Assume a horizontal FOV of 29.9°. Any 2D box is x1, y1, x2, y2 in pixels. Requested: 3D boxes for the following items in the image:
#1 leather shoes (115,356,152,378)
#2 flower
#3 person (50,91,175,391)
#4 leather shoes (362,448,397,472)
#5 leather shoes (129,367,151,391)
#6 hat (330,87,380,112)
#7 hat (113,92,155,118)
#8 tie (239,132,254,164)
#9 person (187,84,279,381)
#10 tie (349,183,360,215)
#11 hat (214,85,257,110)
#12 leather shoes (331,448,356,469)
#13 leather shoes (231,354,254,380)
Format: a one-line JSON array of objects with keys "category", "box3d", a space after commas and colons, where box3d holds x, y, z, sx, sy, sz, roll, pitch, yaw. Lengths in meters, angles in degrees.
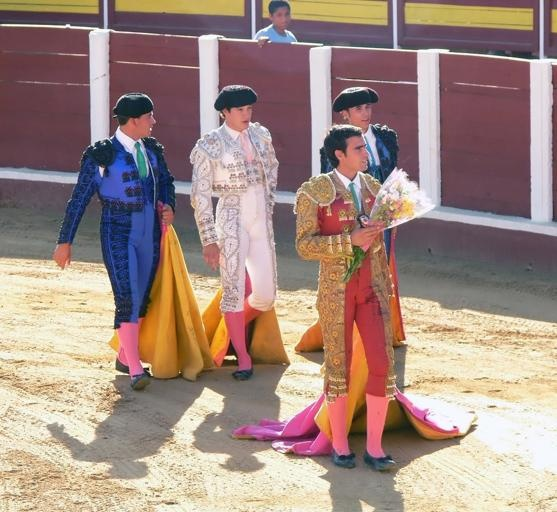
[{"category": "leather shoes", "box3d": [-0.948, 0.735, 6.855, 0.330, 0.117, 0.105, 5, 7, 11]}, {"category": "flower", "box3d": [0.558, -0.164, 5.308, 0.427, 0.550, 0.286, 1, 14, 3]}, {"category": "person", "box3d": [-1.022, -0.114, 6.636, 0.559, 1.787, 0.749, 4, 15, 14]}, {"category": "leather shoes", "box3d": [0.524, 1.046, 5.309, 0.076, 0.049, 0.135, -1, 4, -45]}, {"category": "leather shoes", "box3d": [-0.860, 0.771, 6.479, 0.084, 0.072, 0.168, -16, -14, -24]}, {"category": "hat", "box3d": [0.515, -1.029, 6.974, 0.277, 0.168, 0.364, 2, 13, 6]}, {"category": "hat", "box3d": [-0.901, -0.917, 6.491, 0.221, 0.102, 0.157, 7, 28, 16]}, {"category": "tie", "box3d": [-0.215, -0.708, 6.887, 0.073, 0.212, 0.058, -7, -20, -11]}, {"category": "person", "box3d": [-0.248, -0.150, 6.909, 0.655, 1.898, 0.697, -2, 15, -10]}, {"category": "tie", "box3d": [0.394, -0.284, 5.327, 0.035, 0.130, 0.102, -17, 4, 6]}, {"category": "hat", "box3d": [-0.257, -1.021, 6.744, 0.189, 0.074, 0.199, -4, 16, 33]}, {"category": "leather shoes", "box3d": [0.338, 1.055, 5.373, 0.061, 0.042, 0.113, -1, 1, -27]}, {"category": "leather shoes", "box3d": [-0.236, 0.747, 6.943, 0.142, 0.154, 0.362, -1, -6, 3]}]
